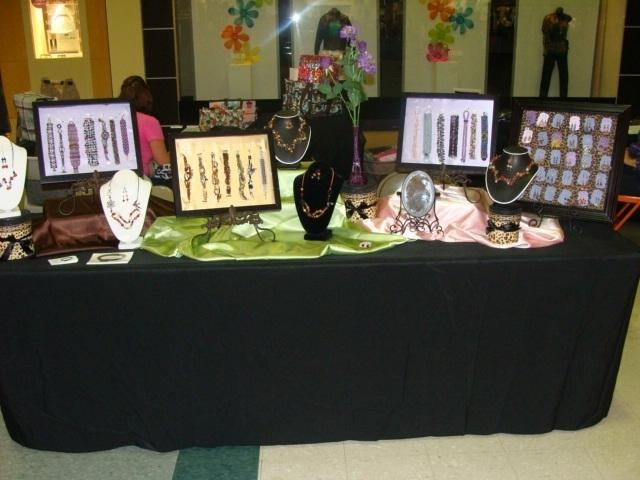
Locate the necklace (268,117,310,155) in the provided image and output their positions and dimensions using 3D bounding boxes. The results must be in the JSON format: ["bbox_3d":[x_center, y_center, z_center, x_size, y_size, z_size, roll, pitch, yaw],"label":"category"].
[{"bbox_3d":[-0.140,-0.507,2.438,0.221,0.152,0.219,0,67,-10],"label":"necklace"}]

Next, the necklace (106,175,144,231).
[{"bbox_3d":[-0.820,-0.157,2.196,0.174,0.245,0.140,-2,46,-11],"label":"necklace"}]

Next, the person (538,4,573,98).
[{"bbox_3d":[2.891,-2.304,6.420,0.357,1.040,0.252,-7,23,-14],"label":"person"}]

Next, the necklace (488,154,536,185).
[{"bbox_3d":[0.792,-0.300,2.164,0.191,0.128,0.189,3,68,20],"label":"necklace"}]
